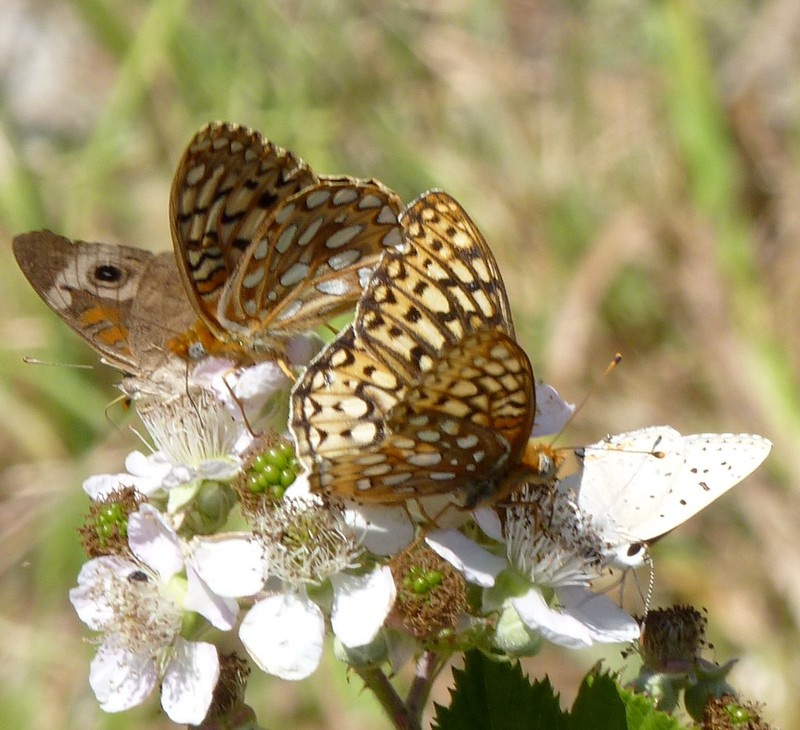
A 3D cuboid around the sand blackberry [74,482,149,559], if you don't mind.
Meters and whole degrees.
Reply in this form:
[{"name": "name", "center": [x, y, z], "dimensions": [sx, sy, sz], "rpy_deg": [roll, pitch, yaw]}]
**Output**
[{"name": "sand blackberry", "center": [-0.850, 0.472, 3.812], "dimensions": [0.141, 0.192, 0.212], "rpy_deg": [51, 43, -7]}]
